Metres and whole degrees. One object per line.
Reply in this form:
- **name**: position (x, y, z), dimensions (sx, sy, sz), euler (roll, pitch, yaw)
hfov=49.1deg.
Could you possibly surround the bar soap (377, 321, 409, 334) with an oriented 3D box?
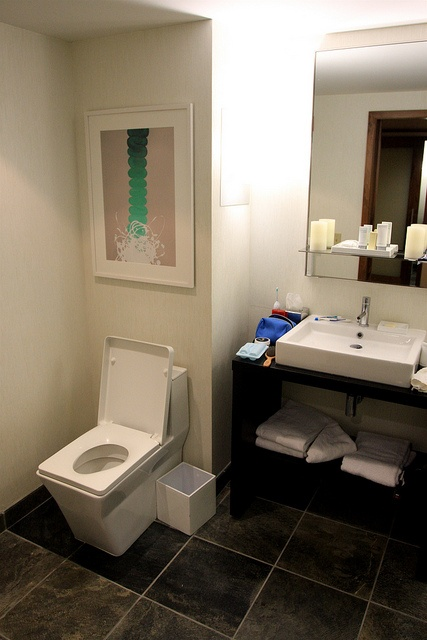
- **bar soap**: position (0.784, 0.030, 2.042), dimensions (0.123, 0.040, 0.089), euler (5, 12, 25)

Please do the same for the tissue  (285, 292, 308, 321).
- **tissue **: position (0.406, -0.062, 2.259), dimensions (0.074, 0.157, 0.073), euler (13, 25, 39)

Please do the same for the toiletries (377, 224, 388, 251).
- **toiletries**: position (0.710, -0.350, 1.955), dimensions (0.048, 0.103, 0.039), euler (3, 9, 19)

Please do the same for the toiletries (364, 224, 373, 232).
- **toiletries**: position (0.667, -0.393, 1.996), dimensions (0.028, 0.036, 0.055), euler (-5, 0, -2)

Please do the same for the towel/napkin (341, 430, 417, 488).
- **towel/napkin**: position (0.725, 0.600, 2.039), dimensions (0.256, 0.078, 0.330), euler (7, 13, 33)

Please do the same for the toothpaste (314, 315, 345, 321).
- **toothpaste**: position (0.552, -0.008, 2.205), dimensions (0.141, 0.016, 0.112), euler (2, 11, 13)

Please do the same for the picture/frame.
- **picture/frame**: position (-0.314, -0.569, 2.062), dimensions (0.579, 0.901, 0.030), euler (14, 25, 30)

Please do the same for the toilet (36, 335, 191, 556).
- **toilet**: position (-0.413, 0.521, 2.048), dimensions (0.425, 0.810, 0.705), euler (4, 11, 27)
